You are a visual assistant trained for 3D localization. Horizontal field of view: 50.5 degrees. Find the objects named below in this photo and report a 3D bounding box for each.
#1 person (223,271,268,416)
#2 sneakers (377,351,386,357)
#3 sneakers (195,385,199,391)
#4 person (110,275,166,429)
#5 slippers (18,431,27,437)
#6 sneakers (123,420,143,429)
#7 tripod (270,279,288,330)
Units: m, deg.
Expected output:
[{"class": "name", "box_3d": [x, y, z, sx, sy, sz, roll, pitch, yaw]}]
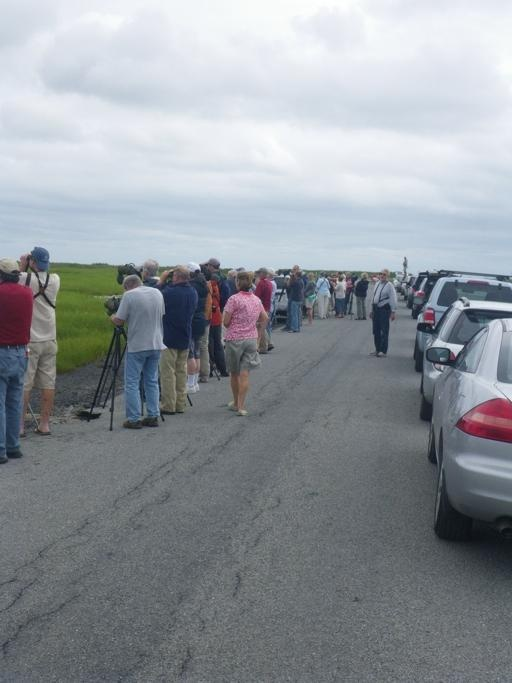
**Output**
[{"class": "person", "box_3d": [-0.264, 0.019, 8.584, 0.702, 2.223, 0.535, 1, -1, -23]}, {"class": "sneakers", "box_3d": [3.593, 0.350, 15.466, 0.098, 0.129, 0.289, -1, -8, 35]}, {"class": "sneakers", "box_3d": [-1.162, 0.893, 10.627, 0.098, 0.136, 0.305, 0, -4, -2]}, {"class": "person", "box_3d": [-1.673, 0.219, 7.725, 0.787, 1.977, 0.427, 2, -1, -35]}, {"class": "slippers", "box_3d": [-3.080, 1.198, 7.147, 0.057, 0.074, 0.165, 2, 6, -16]}, {"class": "sneakers", "box_3d": [-1.710, 1.152, 7.576, 0.252, 0.119, 0.110, 10, 9, 42]}, {"class": "tripod", "box_3d": [1.126, -2.043, 26.189, 1.166, 2.314, 0.507, 0, -3, 17]}]
